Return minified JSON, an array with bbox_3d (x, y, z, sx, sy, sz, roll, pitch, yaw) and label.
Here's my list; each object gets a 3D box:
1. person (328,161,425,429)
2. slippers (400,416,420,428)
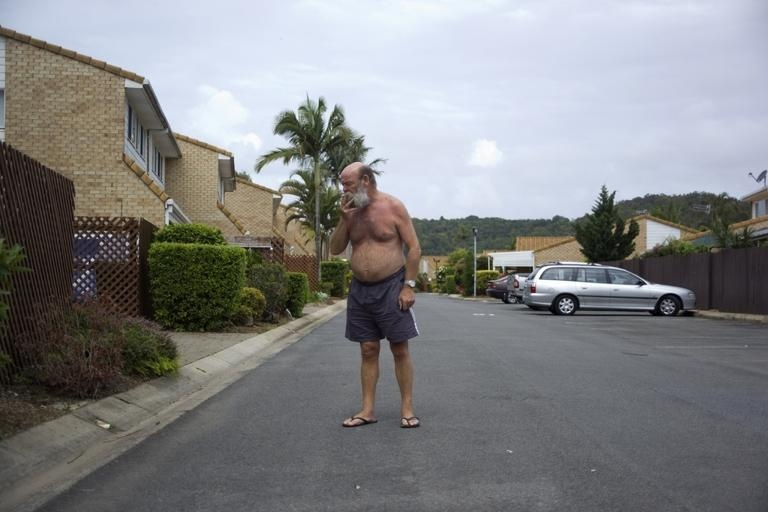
[{"bbox_3d":[-0.068,0.416,6.722,0.960,3.011,0.640,-1,-1,4],"label":"person"},{"bbox_3d":[0.303,1.857,6.676,0.229,0.109,0.189,-2,-3,1],"label":"slippers"}]
